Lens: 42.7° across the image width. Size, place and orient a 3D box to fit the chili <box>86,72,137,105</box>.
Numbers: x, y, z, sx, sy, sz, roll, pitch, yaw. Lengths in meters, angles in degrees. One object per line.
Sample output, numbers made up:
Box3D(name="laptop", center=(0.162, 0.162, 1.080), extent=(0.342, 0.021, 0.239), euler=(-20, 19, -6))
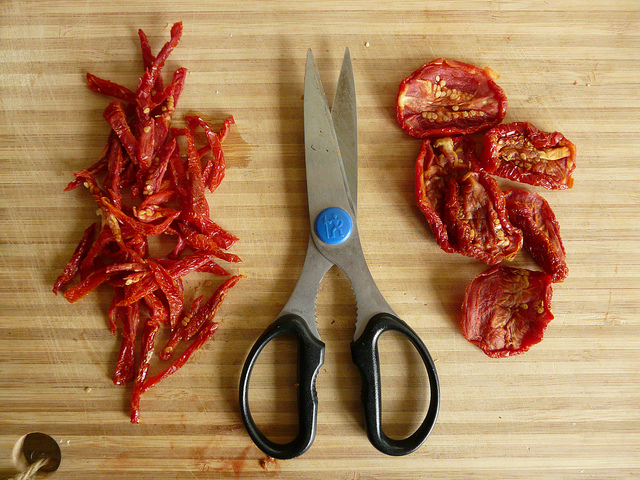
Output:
Box3D(name="chili", center=(-1.029, -0.749, 4.050), extent=(0.285, 0.069, 0.078), euler=(23, 13, 6))

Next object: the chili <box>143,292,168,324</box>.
Box3D(name="chili", center=(-0.790, 0.323, 3.924), extent=(0.078, 0.158, 0.048), euler=(-27, 3, 6))

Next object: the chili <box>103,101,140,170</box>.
Box3D(name="chili", center=(-0.948, -0.523, 3.998), extent=(0.137, 0.372, 0.107), euler=(-28, 7, 3))

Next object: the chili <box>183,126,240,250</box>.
Box3D(name="chili", center=(-0.581, -0.271, 3.960), extent=(0.183, 0.582, 0.087), euler=(-17, -21, 17))

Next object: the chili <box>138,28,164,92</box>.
Box3D(name="chili", center=(-0.852, -0.903, 4.042), extent=(0.092, 0.365, 0.055), euler=(-27, -18, 11))

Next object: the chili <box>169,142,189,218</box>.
Box3D(name="chili", center=(-0.686, -0.290, 3.956), extent=(0.082, 0.360, 0.033), euler=(-8, -9, 4))

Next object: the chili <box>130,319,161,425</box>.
Box3D(name="chili", center=(-0.825, 0.625, 3.986), extent=(0.123, 0.528, 0.135), euler=(8, -5, -3))

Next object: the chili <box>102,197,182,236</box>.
Box3D(name="chili", center=(-0.864, -0.108, 3.926), extent=(0.378, 0.152, 0.119), euler=(5, 1, -13))

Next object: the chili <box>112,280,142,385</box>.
Box3D(name="chili", center=(-0.939, 0.451, 3.993), extent=(0.145, 0.502, 0.070), euler=(5, 0, 5))

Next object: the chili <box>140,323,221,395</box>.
Box3D(name="chili", center=(-0.672, 0.587, 3.955), extent=(0.455, 0.049, 0.082), euler=(-41, -12, 0))

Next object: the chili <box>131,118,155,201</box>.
Box3D(name="chili", center=(-0.839, -0.391, 3.984), extent=(0.093, 0.392, 0.092), euler=(10, 0, 4))

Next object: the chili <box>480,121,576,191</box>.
Box3D(name="chili", center=(1.024, -0.418, 3.983), extent=(0.469, 0.332, 0.148), euler=(6, 1, 7))

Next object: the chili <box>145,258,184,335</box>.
Box3D(name="chili", center=(-0.755, 0.278, 3.931), extent=(0.206, 0.309, 0.074), euler=(6, 2, -12))

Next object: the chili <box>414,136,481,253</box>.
Box3D(name="chili", center=(0.606, -0.221, 3.971), extent=(0.412, 0.518, 0.168), euler=(-2, -3, -6))

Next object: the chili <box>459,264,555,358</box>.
Box3D(name="chili", center=(0.909, 0.349, 3.961), extent=(0.424, 0.448, 0.152), euler=(6, 1, 10))

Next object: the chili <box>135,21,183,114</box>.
Box3D(name="chili", center=(-0.789, -0.853, 4.016), extent=(0.093, 0.404, 0.198), euler=(8, 2, 39))

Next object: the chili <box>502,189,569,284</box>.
Box3D(name="chili", center=(1.076, -0.019, 4.019), extent=(0.296, 0.484, 0.128), euler=(-34, 4, -10))

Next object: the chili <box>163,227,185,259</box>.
Box3D(name="chili", center=(-0.700, 0.014, 3.983), extent=(0.099, 0.150, 0.042), euler=(-6, 10, -8))

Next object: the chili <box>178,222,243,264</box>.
Box3D(name="chili", center=(-0.550, -0.007, 4.002), extent=(0.302, 0.152, 0.389), euler=(-14, 22, -38))
